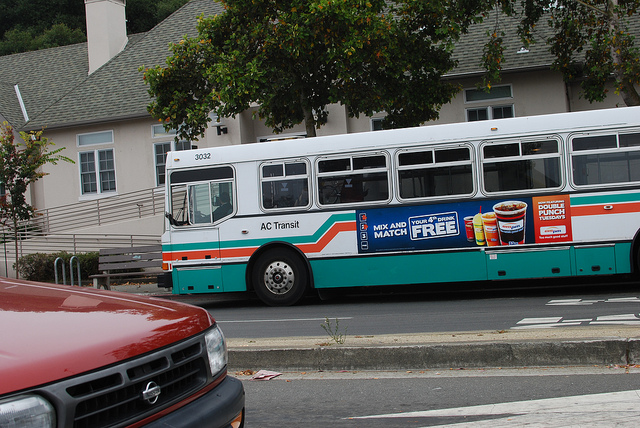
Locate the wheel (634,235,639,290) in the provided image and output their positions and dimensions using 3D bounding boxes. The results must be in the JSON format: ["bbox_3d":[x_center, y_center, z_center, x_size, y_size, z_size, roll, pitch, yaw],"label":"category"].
[{"bbox_3d":[8.017,1.150,20.715,0.115,1.550,2.443,1,9,21],"label":"wheel"}]

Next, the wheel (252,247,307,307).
[{"bbox_3d":[-1.049,1.535,20.817,1.338,1.477,0.509,5,2,9],"label":"wheel"}]

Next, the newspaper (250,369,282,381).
[{"bbox_3d":[-1.029,2.984,15.056,0.509,0.065,0.335,-1,9,11],"label":"newspaper"}]

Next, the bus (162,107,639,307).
[{"bbox_3d":[0.109,0.173,22.657,15.961,4.556,4.764,-2,-3,12],"label":"bus"}]
